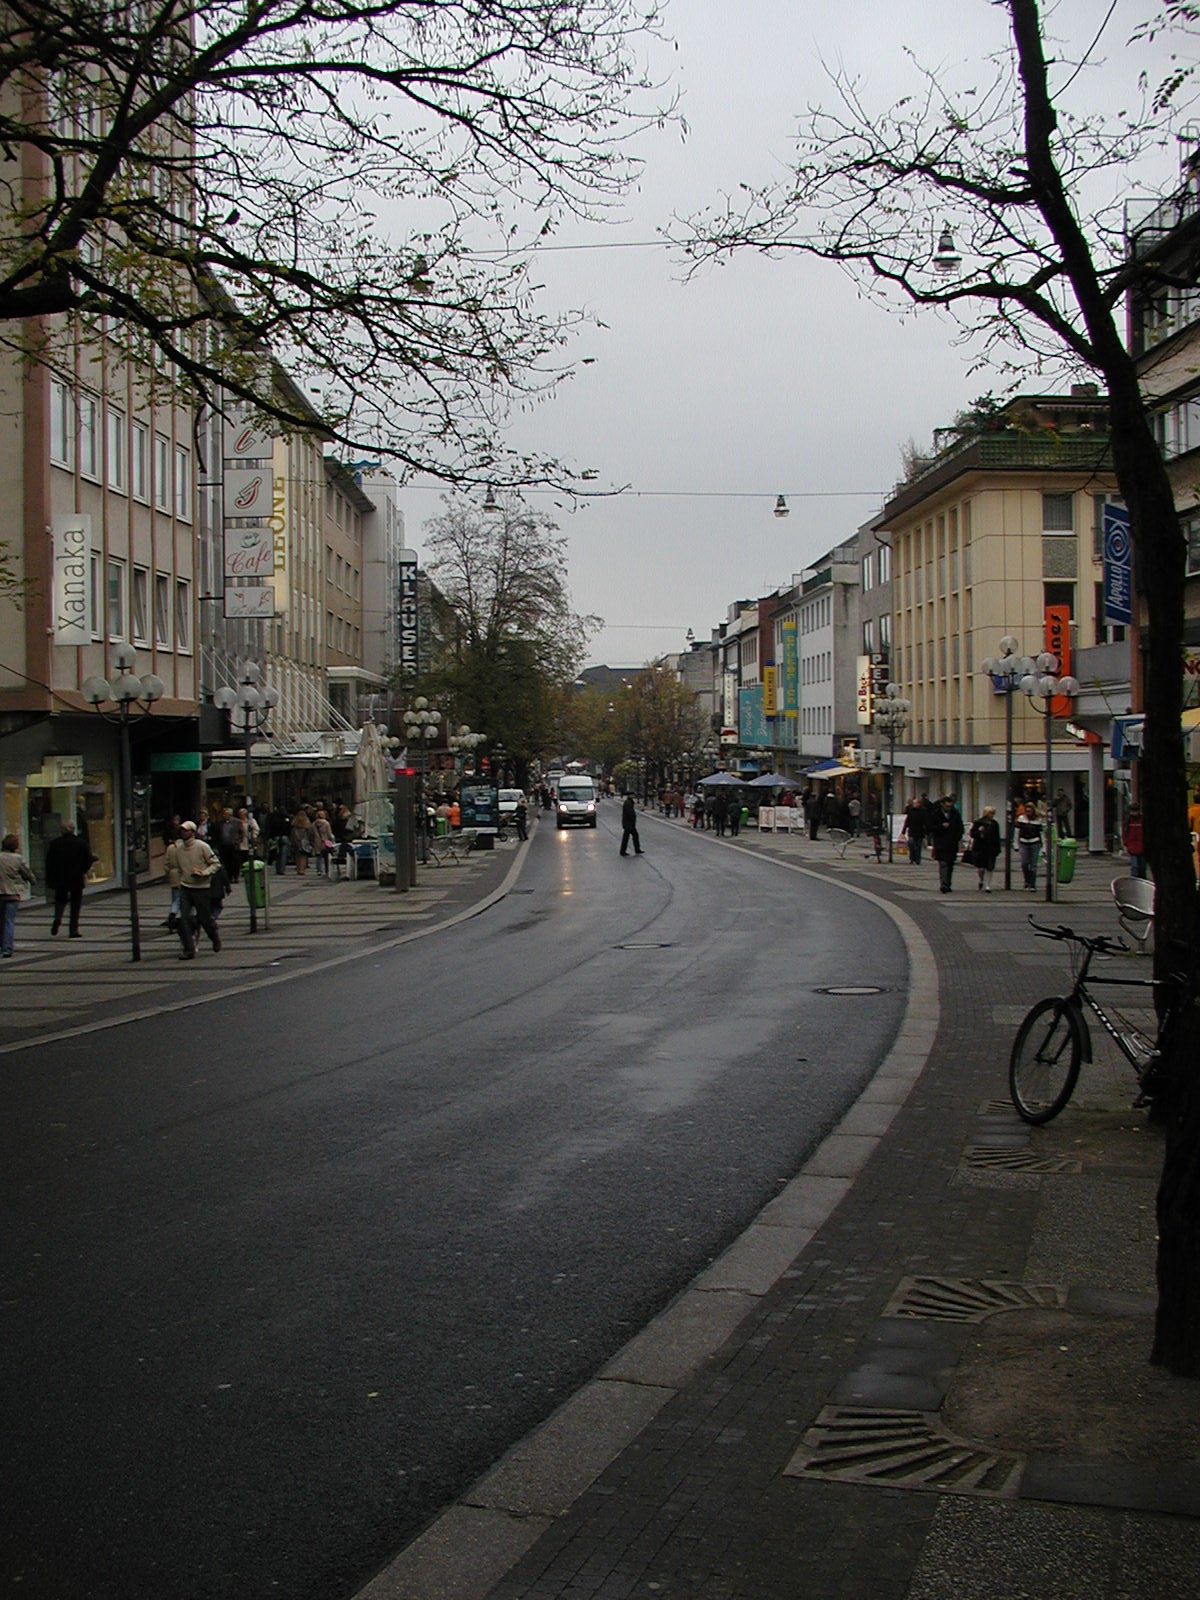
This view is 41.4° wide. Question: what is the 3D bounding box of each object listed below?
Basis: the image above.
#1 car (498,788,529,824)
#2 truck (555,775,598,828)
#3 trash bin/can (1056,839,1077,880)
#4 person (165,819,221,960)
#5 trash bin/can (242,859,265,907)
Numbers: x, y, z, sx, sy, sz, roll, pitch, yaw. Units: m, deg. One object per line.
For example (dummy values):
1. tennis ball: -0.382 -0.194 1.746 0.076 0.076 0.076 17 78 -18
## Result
1. car: -4.032 0.048 73.045 1.040 0.913 1.785 -1 -4 0
2. truck: -1.302 -0.077 84.271 1.713 1.841 3.513 -1 -3 -1
3. trash bin/can: 9.354 1.189 31.805 0.311 0.697 1.025 -2 1 13
4. person: -5.331 1.148 20.715 0.618 1.789 1.332 -3 1 -16
5. trash bin/can: -5.313 1.269 24.333 0.284 0.702 0.795 -3 1 -15
